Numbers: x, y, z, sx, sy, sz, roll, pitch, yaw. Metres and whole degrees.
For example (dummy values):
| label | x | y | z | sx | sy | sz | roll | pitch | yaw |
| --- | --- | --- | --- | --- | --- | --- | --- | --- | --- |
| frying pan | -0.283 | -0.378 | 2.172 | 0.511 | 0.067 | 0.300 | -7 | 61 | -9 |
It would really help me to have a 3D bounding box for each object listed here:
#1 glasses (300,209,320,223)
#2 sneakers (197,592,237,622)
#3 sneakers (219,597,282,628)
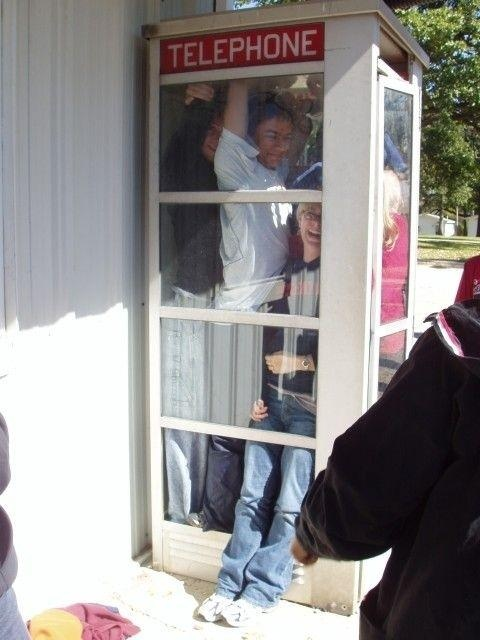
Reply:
| label | x | y | z | sx | sy | sz | roll | pitch | yaw |
| --- | --- | --- | --- | --- | --- | --- | --- | --- | --- |
| glasses | 0.298 | -0.457 | 2.467 | 0.110 | 0.081 | 0.020 | 9 | 8 | 43 |
| sneakers | -0.115 | 1.252 | 2.501 | 0.069 | 0.076 | 0.146 | 3 | -16 | 30 |
| sneakers | 0.016 | 1.270 | 2.479 | 0.213 | 0.108 | 0.081 | 23 | -11 | -35 |
